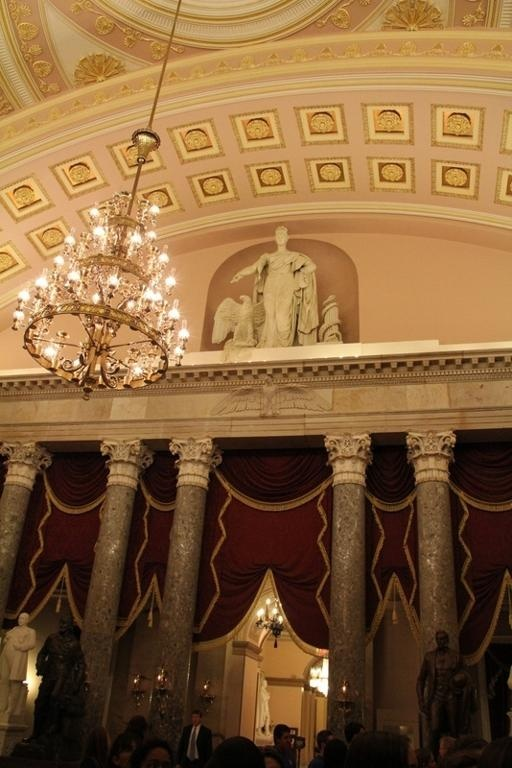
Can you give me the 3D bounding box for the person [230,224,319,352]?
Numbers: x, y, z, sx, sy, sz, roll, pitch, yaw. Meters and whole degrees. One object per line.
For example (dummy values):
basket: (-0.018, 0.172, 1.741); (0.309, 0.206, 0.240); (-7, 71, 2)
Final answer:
person: (0.499, -1.619, 10.034); (1.157, 2.330, 0.375); (2, -24, 9)
